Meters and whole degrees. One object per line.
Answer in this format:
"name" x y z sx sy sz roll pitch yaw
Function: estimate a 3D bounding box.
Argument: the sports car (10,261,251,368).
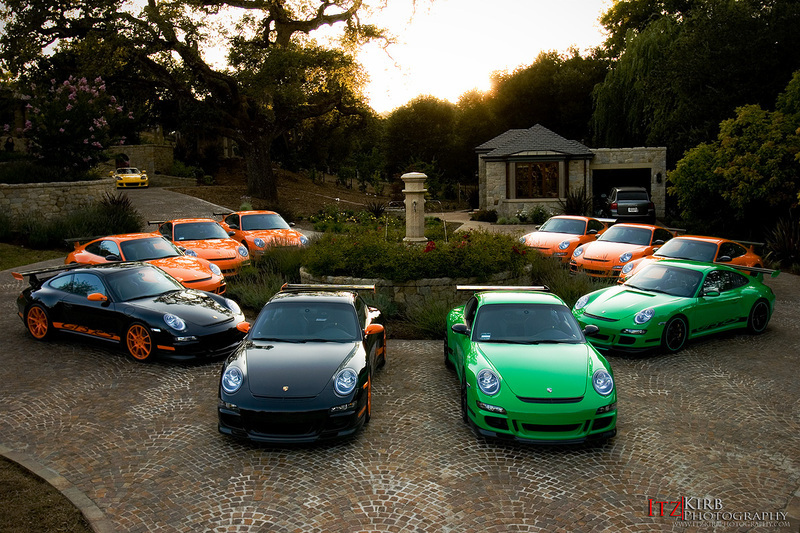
"sports car" -5.805 0.868 12.271 5.031 1.515 2.409 10 8 15

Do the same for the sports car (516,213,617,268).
"sports car" 6.079 -1.013 20.277 1.705 1.169 3.672 4 7 41

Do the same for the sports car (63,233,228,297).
"sports car" -6.650 -0.259 15.377 4.017 1.213 1.934 12 13 22

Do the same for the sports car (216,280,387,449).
"sports car" -1.538 1.608 9.465 2.212 1.892 2.776 1 13 8

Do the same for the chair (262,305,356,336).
"chair" -1.669 0.967 10.205 0.705 0.338 1.168 2 6 3

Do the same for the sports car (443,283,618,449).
"sports car" 2.130 1.625 9.506 2.280 1.790 2.772 -3 13 -6

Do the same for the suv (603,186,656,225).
"suv" 12.765 -3.392 31.090 2.282 1.762 1.954 3 14 16

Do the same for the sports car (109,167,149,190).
"sports car" -20.459 -6.761 43.121 2.148 1.372 2.282 -9 15 -31

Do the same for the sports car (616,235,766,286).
"sports car" 8.185 -0.409 15.464 3.914 1.182 1.805 0 4 -17

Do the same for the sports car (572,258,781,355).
"sports car" 6.171 0.840 12.754 4.288 1.345 2.267 -6 5 -25
